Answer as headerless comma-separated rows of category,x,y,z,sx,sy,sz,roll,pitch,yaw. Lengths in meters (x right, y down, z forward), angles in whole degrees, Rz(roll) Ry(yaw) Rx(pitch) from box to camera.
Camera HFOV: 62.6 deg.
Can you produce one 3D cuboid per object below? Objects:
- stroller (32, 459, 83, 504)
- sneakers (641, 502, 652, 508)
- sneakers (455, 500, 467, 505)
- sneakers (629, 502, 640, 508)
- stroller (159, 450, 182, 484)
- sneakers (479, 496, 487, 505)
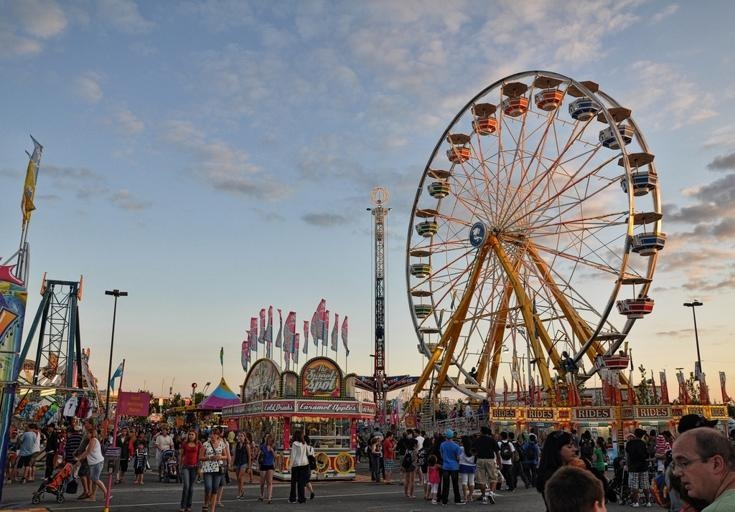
stroller,-8.985,6.535,17.579,1.536,1.328,1.161,1,-11,-25
sneakers,7.882,6.934,16.958,0.102,0.122,0.293,2,-6,2
sneakers,2.806,7.224,17.769,0.396,0.158,0.135,11,-14,-39
sneakers,7.547,6.934,16.942,0.106,0.119,0.283,-2,-14,-1
stroller,-7.860,8.257,24.119,1.037,1.162,1.047,-3,-6,-3
sneakers,3.406,7.086,17.633,0.141,0.174,0.412,1,-11,1
